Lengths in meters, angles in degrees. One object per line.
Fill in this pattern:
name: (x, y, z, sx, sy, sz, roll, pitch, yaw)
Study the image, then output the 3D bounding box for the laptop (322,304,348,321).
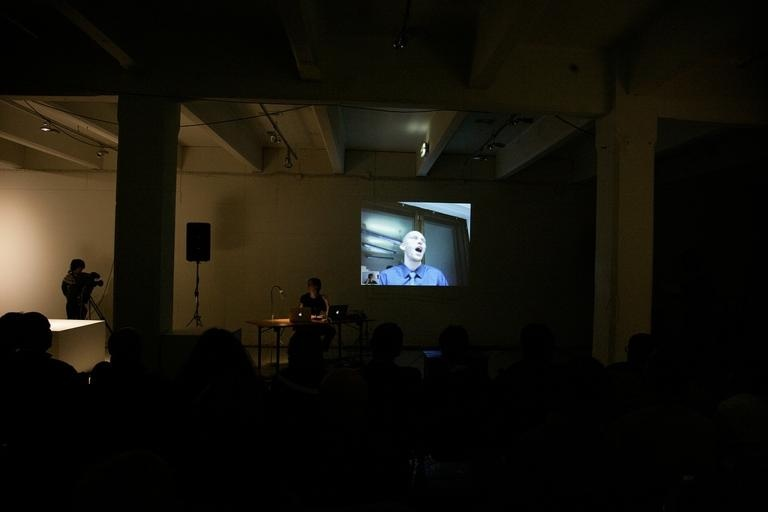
laptop: (-0.689, 0.801, 8.890, 0.285, 0.196, 0.196, 4, 1, -32)

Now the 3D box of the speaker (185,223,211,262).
speaker: (-2.375, -0.167, 8.112, 0.274, 0.355, 0.564, 5, -3, -12)

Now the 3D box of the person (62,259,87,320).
person: (-4.554, 0.477, 9.261, 0.305, 0.727, 0.890, 7, -4, -37)

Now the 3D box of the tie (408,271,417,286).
tie: (0.448, 0.391, 10.327, 0.122, 0.199, 0.199, -1, 0, 1)

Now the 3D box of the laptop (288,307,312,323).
laptop: (-1.147, 0.773, 8.581, 0.274, 0.184, 0.188, 2, 1, -10)
